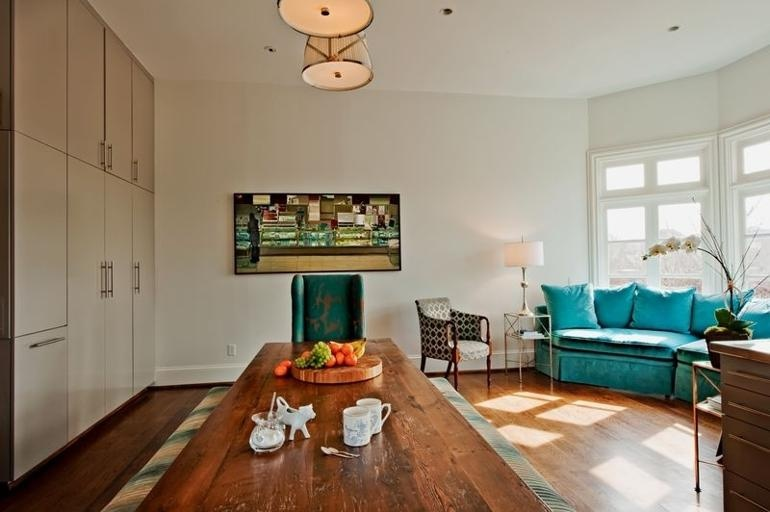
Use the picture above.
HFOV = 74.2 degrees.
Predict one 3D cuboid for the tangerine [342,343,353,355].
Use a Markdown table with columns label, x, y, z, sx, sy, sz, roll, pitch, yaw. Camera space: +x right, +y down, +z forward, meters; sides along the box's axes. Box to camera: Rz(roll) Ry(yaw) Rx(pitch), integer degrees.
| label | x | y | z | sx | sy | sz | roll | pitch | yaw |
| --- | --- | --- | --- | --- | --- | --- | --- | --- | --- |
| tangerine | -0.272 | 0.666 | 3.665 | 0.061 | 0.076 | 0.065 | -22 | -24 | 37 |

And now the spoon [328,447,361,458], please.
| label | x | y | z | sx | sy | sz | roll | pitch | yaw |
| --- | --- | --- | --- | --- | --- | --- | --- | --- | --- |
| spoon | -0.239 | 1.105 | 2.884 | 0.199 | 0.036 | 0.059 | 0 | 10 | 10 |

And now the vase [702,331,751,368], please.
| label | x | y | z | sx | sy | sz | roll | pitch | yaw |
| --- | --- | --- | --- | --- | --- | --- | --- | --- | --- |
| vase | 2.566 | 0.674 | 3.845 | 0.296 | 0.245 | 0.284 | -1 | -3 | 5 |

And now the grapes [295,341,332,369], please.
| label | x | y | z | sx | sy | sz | roll | pitch | yaw |
| --- | --- | --- | --- | --- | --- | --- | --- | --- | --- |
| grapes | -0.485 | 0.703 | 3.598 | 0.192 | 0.119 | 0.197 | 1 | 2 | 38 |

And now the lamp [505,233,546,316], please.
| label | x | y | z | sx | sy | sz | roll | pitch | yaw |
| --- | --- | --- | --- | --- | --- | --- | --- | --- | --- |
| lamp | 1.694 | 0.235 | 6.311 | 0.439 | 0.962 | 0.532 | -2 | -3 | 3 |

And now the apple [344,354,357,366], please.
| label | x | y | z | sx | sy | sz | roll | pitch | yaw |
| --- | --- | --- | --- | --- | --- | --- | --- | --- | --- |
| apple | -0.245 | 0.734 | 3.646 | 0.073 | 0.073 | 0.075 | -4 | 4 | -24 |

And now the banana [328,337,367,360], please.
| label | x | y | z | sx | sy | sz | roll | pitch | yaw |
| --- | --- | --- | --- | --- | --- | --- | --- | --- | --- |
| banana | -0.277 | 0.664 | 3.793 | 0.248 | 0.158 | 0.145 | 0 | -31 | -19 |

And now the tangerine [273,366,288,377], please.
| label | x | y | z | sx | sy | sz | roll | pitch | yaw |
| --- | --- | --- | --- | --- | --- | --- | --- | --- | --- |
| tangerine | -0.744 | 0.807 | 3.642 | 0.074 | 0.055 | 0.075 | -5 | 6 | -33 |

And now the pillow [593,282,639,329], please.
| label | x | y | z | sx | sy | sz | roll | pitch | yaw |
| --- | --- | --- | --- | --- | --- | --- | --- | --- | --- |
| pillow | 2.813 | 0.623 | 6.194 | 0.490 | 0.519 | 0.181 | -2 | -10 | 23 |

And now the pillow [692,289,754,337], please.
| label | x | y | z | sx | sy | sz | roll | pitch | yaw |
| --- | --- | --- | --- | --- | --- | --- | --- | --- | --- |
| pillow | 3.287 | 0.551 | 4.937 | 0.181 | 0.519 | 0.531 | 17 | -10 | -17 |

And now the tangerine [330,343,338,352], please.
| label | x | y | z | sx | sy | sz | roll | pitch | yaw |
| --- | --- | --- | --- | --- | --- | --- | --- | --- | --- |
| tangerine | -0.376 | 0.663 | 3.695 | 0.050 | 0.070 | 0.052 | -10 | -20 | -19 |

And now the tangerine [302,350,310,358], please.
| label | x | y | z | sx | sy | sz | roll | pitch | yaw |
| --- | --- | --- | --- | --- | --- | --- | --- | --- | --- |
| tangerine | -0.573 | 0.723 | 3.723 | 0.053 | 0.054 | 0.052 | 3 | 4 | -39 |

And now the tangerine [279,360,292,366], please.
| label | x | y | z | sx | sy | sz | roll | pitch | yaw |
| --- | --- | --- | --- | --- | --- | --- | --- | --- | --- |
| tangerine | -0.719 | 0.771 | 3.704 | 0.045 | 0.033 | 0.046 | 2 | 0 | 21 |

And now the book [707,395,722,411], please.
| label | x | y | z | sx | sy | sz | roll | pitch | yaw |
| --- | --- | --- | --- | --- | --- | --- | --- | --- | --- |
| book | 2.466 | 1.089 | 3.788 | 0.094 | 0.026 | 0.093 | -4 | 4 | -36 |

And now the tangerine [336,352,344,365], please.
| label | x | y | z | sx | sy | sz | roll | pitch | yaw |
| --- | --- | --- | --- | --- | --- | --- | --- | --- | --- |
| tangerine | -0.314 | 0.734 | 3.619 | 0.066 | 0.082 | 0.069 | -1 | -9 | 3 |

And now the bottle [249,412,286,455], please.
| label | x | y | z | sx | sy | sz | roll | pitch | yaw |
| --- | --- | --- | --- | --- | --- | --- | --- | --- | --- |
| bottle | -0.679 | 1.006 | 2.903 | 0.189 | 0.166 | 0.193 | 0 | -1 | -8 |

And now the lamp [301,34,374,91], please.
| label | x | y | z | sx | sy | sz | roll | pitch | yaw |
| --- | --- | --- | --- | --- | --- | --- | --- | --- | --- |
| lamp | -0.390 | -1.493 | 4.085 | 0.466 | 0.538 | 0.473 | 2 | -12 | -21 |

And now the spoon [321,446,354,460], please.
| label | x | y | z | sx | sy | sz | roll | pitch | yaw |
| --- | --- | --- | --- | --- | --- | --- | --- | --- | --- |
| spoon | -0.256 | 1.109 | 2.867 | 0.216 | 0.038 | 0.064 | -1 | 9 | 13 |
